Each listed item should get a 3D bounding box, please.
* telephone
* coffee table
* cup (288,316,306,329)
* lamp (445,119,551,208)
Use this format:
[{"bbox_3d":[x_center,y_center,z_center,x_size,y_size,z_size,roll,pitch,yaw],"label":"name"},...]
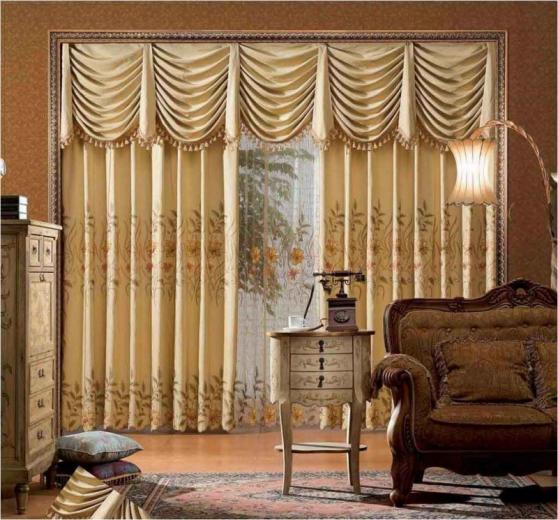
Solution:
[{"bbox_3d":[0.397,0.266,5.097,0.294,0.395,0.195,1,-6,-5],"label":"telephone"},{"bbox_3d":[0.245,0.922,4.652,0.649,1.122,0.736,0,-12,-1],"label":"coffee table"},{"bbox_3d":[0.099,0.370,4.687,0.070,0.063,0.068,1,-2,0],"label":"cup"},{"bbox_3d":[1.501,-0.668,5.266,0.601,0.595,1.226,2,5,20],"label":"lamp"}]
